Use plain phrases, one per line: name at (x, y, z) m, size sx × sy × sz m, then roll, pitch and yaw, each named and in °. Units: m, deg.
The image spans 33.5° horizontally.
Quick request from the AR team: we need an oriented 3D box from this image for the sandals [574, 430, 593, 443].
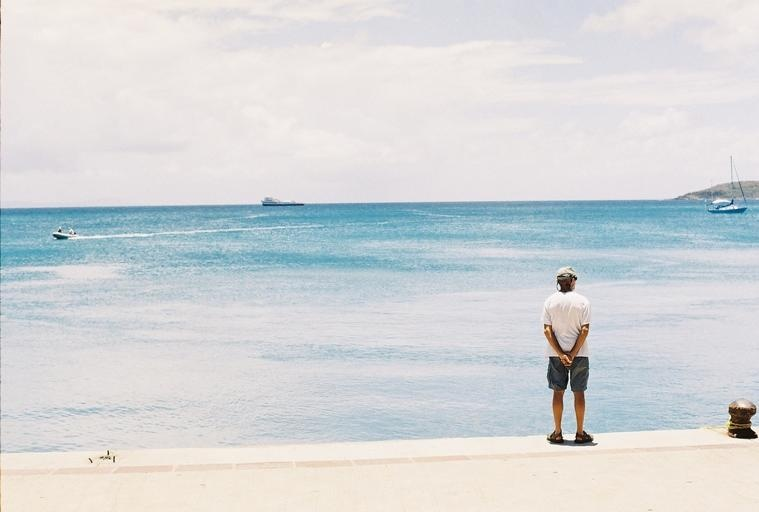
sandals at (4.886, 4.298, 29.922) m, size 0.244 × 0.154 × 0.500 m, roll 2°, pitch 4°, yaw 41°
